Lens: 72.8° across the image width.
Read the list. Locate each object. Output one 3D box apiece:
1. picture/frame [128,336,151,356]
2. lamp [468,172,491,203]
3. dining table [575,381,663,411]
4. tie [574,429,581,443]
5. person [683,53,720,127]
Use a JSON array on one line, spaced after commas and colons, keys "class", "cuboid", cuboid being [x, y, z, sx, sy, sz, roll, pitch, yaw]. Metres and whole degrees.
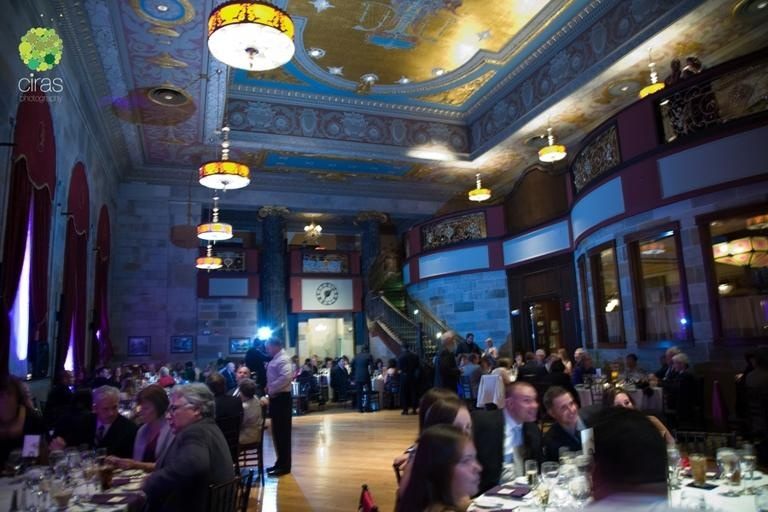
[{"class": "picture/frame", "cuboid": [-7.572, 2.771, 15.980, 0.647, 0.630, 0.047, -2, -7, -15]}, {"class": "lamp", "cuboid": [3.362, -2.476, 18.316, 0.985, 1.039, 0.970, -2, -18, 9]}, {"class": "dining table", "cuboid": [3.879, 2.387, 8.864, 1.556, 0.532, 1.507, 2, -15, -7]}, {"class": "tie", "cuboid": [1.878, 1.763, 5.070, 0.023, 0.134, 0.070, -2, -7, -16]}, {"class": "person", "cuboid": [5.390, -2.919, 8.916, 0.381, 1.393, 0.587, -30, 30, -7]}]
